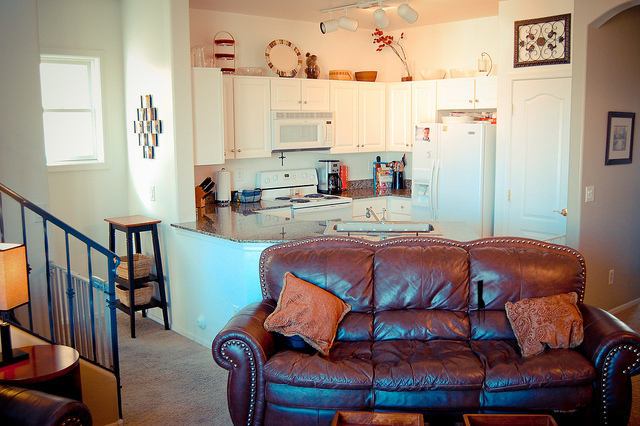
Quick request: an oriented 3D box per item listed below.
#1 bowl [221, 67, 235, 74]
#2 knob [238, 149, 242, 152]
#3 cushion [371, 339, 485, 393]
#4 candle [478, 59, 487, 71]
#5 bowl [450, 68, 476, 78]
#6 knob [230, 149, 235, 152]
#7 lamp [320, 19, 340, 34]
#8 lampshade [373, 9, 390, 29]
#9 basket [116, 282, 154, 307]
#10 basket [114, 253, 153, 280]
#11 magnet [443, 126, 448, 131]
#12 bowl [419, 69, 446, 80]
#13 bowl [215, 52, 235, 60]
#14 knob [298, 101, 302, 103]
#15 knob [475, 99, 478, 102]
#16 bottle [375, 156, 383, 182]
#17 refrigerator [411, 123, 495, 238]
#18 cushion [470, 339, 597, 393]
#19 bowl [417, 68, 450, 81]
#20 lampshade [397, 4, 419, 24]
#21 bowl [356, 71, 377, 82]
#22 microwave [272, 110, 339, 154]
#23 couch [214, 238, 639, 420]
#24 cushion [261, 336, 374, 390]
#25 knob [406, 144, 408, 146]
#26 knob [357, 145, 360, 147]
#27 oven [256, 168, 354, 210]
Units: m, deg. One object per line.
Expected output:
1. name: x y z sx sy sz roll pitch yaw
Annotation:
1. bowl: -1.144 -1.756 5.781 0.145 0.086 0.088 -5 10 -19
2. knob: -1.021 -0.785 5.902 0.035 0.038 0.027 -4 12 -10
3. cushion: 0.785 1.149 3.501 0.798 0.191 0.442 -2 10 3
4. candle: 2.248 -2.050 6.487 0.187 0.161 0.067 -9 11 -34
5. bowl: 1.984 -1.941 6.499 0.344 0.134 0.136 0 10 15
6. knob: -1.096 -0.776 5.835 0.045 0.041 0.012 1 -7 -26
7. lamp: 0.124 -2.343 5.857 0.217 0.159 0.189 -2 10 1
8. lampshade: 0.723 -2.319 5.550 0.140 0.199 0.337 0 10 10
9. basket: -2.120 0.914 5.368 0.370 0.242 0.308 7 13 44
10. basket: -2.142 0.611 5.401 0.362 0.221 0.398 -8 11 -32
11. magnet: 1.657 -1.118 6.200 0.081 0.075 0.044 4 13 21
12. bowl: 1.645 -1.954 6.722 0.216 0.078 0.211 -2 10 0
13. bowl: -1.204 -1.974 5.883 0.233 0.116 0.212 -4 10 -10
14. knob: -0.281 -1.499 6.329 0.032 0.031 0.009 -1 -11 -22
15. knob: 2.109 -1.511 6.297 0.039 0.038 0.010 -2 -6 20
16. bottle: 0.937 -0.707 7.516 0.112 0.384 0.317 -1 10 7
17. refrigerator: 1.754 -0.477 6.281 1.079 1.451 0.375 7 13 43
18. cushion: 1.573 1.124 3.477 0.817 0.213 0.474 -1 10 5
19. bowl: 1.669 -1.993 6.749 0.306 0.119 0.299 -2 8 0
20. lampshade: 1.022 -2.337 5.468 0.197 0.225 0.453 0 10 11
21. bowl: 0.713 -2.045 7.025 0.315 0.180 0.201 -6 10 -23
22. microwave: -0.169 -1.115 6.632 0.908 0.539 0.464 3 1 14
23. couch: 0.798 0.887 3.676 2.900 1.157 1.002 -2 10 -2
24. cushion: -0.007 1.124 3.534 0.814 0.227 0.470 -1 10 4
25. knob: 1.306 -1.022 7.015 0.031 0.028 0.017 2 4 8
26. knob: 0.563 -1.000 6.968 0.057 0.031 0.053 1 0 6
27. oven: -0.258 -0.323 6.463 0.952 0.358 0.719 -9 14 -40
